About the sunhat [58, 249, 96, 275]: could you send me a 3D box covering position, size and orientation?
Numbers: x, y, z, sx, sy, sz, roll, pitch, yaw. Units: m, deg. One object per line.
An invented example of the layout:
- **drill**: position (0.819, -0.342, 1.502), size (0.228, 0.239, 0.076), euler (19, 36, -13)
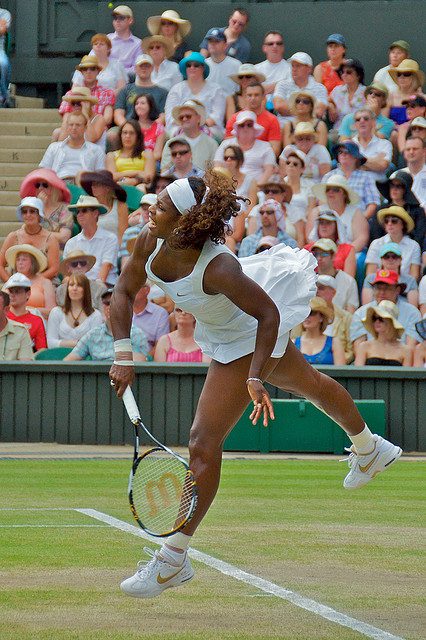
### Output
- **sunhat**: position (-1.167, -0.497, 10.499), size (0.340, 0.230, 0.386), euler (3, 5, -15)

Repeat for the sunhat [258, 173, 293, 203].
- **sunhat**: position (0.594, -1.212, 11.092), size (0.355, 0.251, 0.339), euler (3, 5, -7)

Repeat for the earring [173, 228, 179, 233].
- **earring**: position (-0.152, -0.366, 4.928), size (0.032, 0.019, 0.007), euler (8, 7, 43)

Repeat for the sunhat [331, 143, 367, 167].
- **sunhat**: position (1.228, -1.551, 11.291), size (0.261, 0.216, 0.386), euler (0, 6, -39)

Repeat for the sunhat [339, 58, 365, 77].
- **sunhat**: position (1.434, -2.652, 12.396), size (0.220, 0.122, 0.339), euler (5, 5, 12)

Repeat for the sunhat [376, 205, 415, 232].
- **sunhat**: position (1.590, -0.876, 10.429), size (0.338, 0.216, 0.242), euler (4, 5, 6)

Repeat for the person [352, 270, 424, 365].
- **person**: position (1.404, 0.011, 9.563), size (0.512, 0.422, 1.146), euler (-9, 37, 19)

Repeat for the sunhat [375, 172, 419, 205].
- **sunhat**: position (1.681, -1.171, 10.706), size (0.229, 0.288, 0.539), euler (-1, 7, -45)

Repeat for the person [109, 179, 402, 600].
- **person**: position (0.268, 0.279, 5.327), size (1.620, 1.726, 0.965), euler (1, 6, -35)

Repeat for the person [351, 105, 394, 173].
- **person**: position (1.535, -1.725, 11.505), size (0.392, 0.663, 0.701), euler (4, 5, 4)

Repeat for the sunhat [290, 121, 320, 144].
- **sunhat**: position (0.888, -1.844, 11.790), size (0.306, 0.201, 0.295), euler (5, 5, 14)

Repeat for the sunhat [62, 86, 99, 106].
- **sunhat**: position (-1.417, -2.406, 12.887), size (0.371, 0.196, 0.302), euler (3, 5, -8)

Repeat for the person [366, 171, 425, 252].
- **person**: position (1.643, -1.013, 10.602), size (0.391, 0.437, 0.845), euler (-1, 17, 23)

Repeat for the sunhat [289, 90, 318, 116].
- **sunhat**: position (0.946, -2.199, 12.242), size (0.323, 0.244, 0.349), euler (3, 5, -9)

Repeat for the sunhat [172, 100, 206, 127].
- **sunhat**: position (-0.239, -2.082, 12.063), size (0.352, 0.246, 0.613), euler (4, 4, -2)

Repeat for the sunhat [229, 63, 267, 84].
- **sunhat**: position (0.378, -2.637, 12.878), size (0.396, 0.228, 0.481), euler (4, 4, 0)

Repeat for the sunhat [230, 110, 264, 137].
- **sunhat**: position (0.341, -1.922, 11.736), size (0.306, 0.159, 0.232), euler (2, 5, 5)

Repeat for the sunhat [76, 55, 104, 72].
- **sunhat**: position (-1.378, -2.897, 13.483), size (0.276, 0.159, 0.257), euler (3, 5, -7)

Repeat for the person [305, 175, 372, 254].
- **person**: position (1.104, -0.861, 10.750), size (0.583, 0.866, 0.563), euler (0, 11, 11)

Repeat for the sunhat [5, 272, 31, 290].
- **sunhat**: position (-1.581, -0.306, 9.690), size (0.160, 0.121, 0.235), euler (6, 5, 26)

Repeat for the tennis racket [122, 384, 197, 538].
- **tennis racket**: position (-0.244, 0.517, 4.933), size (0.321, 0.813, 0.081), euler (-2, -37, -11)

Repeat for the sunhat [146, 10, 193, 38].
- **sunhat**: position (-0.536, -3.558, 14.349), size (0.493, 0.363, 0.586), euler (3, 5, -10)

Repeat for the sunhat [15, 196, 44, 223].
- **sunhat**: position (-1.656, -1.030, 10.874), size (0.209, 0.132, 0.261), euler (-11, -18, -7)

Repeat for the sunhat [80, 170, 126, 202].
- **sunhat**: position (-1.021, -1.273, 11.396), size (0.385, 0.153, 0.270), euler (31, -23, -24)

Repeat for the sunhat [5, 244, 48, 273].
- **sunhat**: position (-1.633, -0.536, 10.515), size (0.365, 0.239, 0.285), euler (3, 5, -7)

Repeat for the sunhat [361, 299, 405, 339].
- **sunhat**: position (1.336, 0.008, 9.375), size (0.328, 0.308, 0.362), euler (4, 5, -4)

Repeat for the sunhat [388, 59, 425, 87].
- **sunhat**: position (2.041, -2.525, 12.390), size (0.341, 0.175, 0.373), euler (9, -19, 23)

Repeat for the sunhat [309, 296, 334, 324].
- **sunhat**: position (0.842, -0.064, 9.263), size (0.182, 0.216, 0.452), euler (5, 5, 6)

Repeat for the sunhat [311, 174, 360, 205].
- **sunhat**: position (1.119, -1.180, 10.796), size (0.347, 0.143, 0.339), euler (26, -13, -14)
